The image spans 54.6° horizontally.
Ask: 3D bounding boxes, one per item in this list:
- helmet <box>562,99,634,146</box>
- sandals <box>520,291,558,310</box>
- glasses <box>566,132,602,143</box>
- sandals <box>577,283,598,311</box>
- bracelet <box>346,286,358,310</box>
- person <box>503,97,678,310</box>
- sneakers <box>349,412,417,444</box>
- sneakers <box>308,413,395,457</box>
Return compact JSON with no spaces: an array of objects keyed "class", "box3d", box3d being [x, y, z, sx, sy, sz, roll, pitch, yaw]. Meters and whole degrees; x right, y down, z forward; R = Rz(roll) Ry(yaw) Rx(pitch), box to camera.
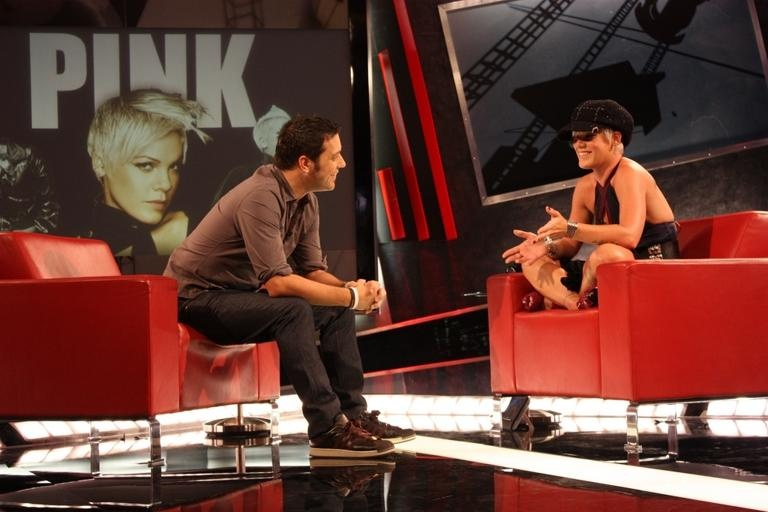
[{"class":"helmet","box3d":[1.209,-0.747,4.106,0.349,0.170,0.248,13,1,-9]},{"class":"sandals","box3d":[0.859,0.250,4.115,0.139,0.119,0.060,14,14,-10]},{"class":"glasses","box3d":[1.093,-0.644,4.062,0.091,0.038,0.066,-3,-4,34]},{"class":"sandals","box3d":[1.055,0.214,3.858,0.084,0.041,0.116,-20,18,36]},{"class":"bracelet","box3d":[-0.151,0.212,3.623,0.040,0.080,0.072,0,10,-13]},{"class":"person","box3d":[1.219,-0.230,4.584,1.210,1.317,0.989,1,-5,-19]},{"class":"sneakers","box3d":[-0.020,0.851,3.732,0.394,0.167,0.128,3,-3,-17]},{"class":"sneakers","box3d":[-0.164,0.873,3.638,0.455,0.202,0.159,0,-3,-2]}]
